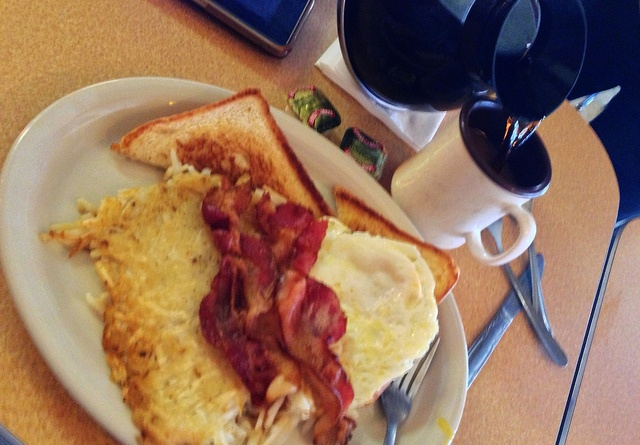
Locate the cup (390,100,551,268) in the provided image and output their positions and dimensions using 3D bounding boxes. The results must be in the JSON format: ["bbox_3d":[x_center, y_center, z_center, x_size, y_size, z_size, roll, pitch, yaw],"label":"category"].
[{"bbox_3d":[0.327,-0.061,1.346,0.197,0.360,0.311,-8,-22,-30],"label":"cup"}]

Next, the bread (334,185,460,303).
[{"bbox_3d":[0.150,0.054,1.360,0.285,0.062,0.178,37,26,-11],"label":"bread"}]
